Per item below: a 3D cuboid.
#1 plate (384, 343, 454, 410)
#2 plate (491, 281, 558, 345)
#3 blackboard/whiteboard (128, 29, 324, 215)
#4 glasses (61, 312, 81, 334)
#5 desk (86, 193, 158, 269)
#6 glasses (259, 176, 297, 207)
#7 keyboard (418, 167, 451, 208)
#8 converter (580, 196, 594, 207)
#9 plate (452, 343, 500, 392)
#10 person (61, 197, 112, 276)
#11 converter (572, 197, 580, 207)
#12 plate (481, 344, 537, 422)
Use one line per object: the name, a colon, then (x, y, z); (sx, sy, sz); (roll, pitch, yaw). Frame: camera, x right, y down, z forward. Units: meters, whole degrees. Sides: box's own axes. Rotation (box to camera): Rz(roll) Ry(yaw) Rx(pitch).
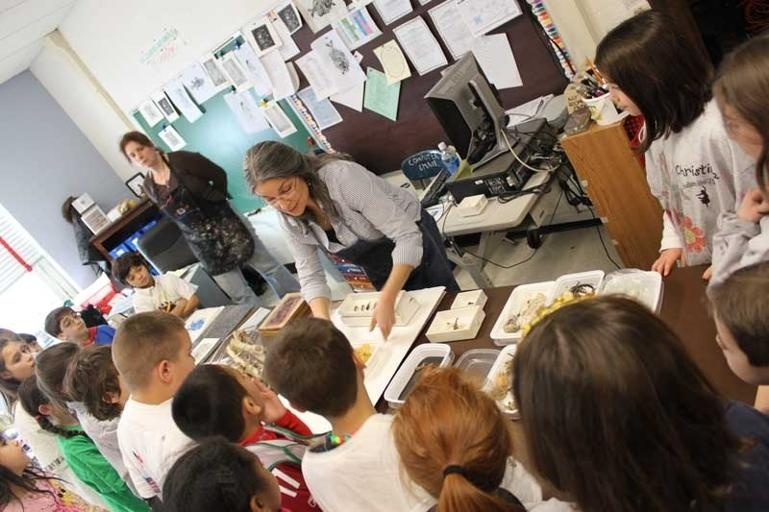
plate: (0.145, 0.468, 2.057); (0.202, 0.057, 0.343); (-1, 40, 41)
plate: (0.570, 0.241, 2.029); (0.294, 0.041, 0.205); (-53, 20, -27)
blackboard/whiteboard: (-1.311, -1.212, 4.149); (1.967, 1.400, 0.027); (-23, 26, 33)
glasses: (-2.205, 0.475, 3.520); (0.131, 0.070, 0.103); (-20, -3, 34)
desk: (-2.527, -0.224, 4.801); (0.597, 0.551, 0.379); (-49, 10, -11)
glasses: (-0.477, -0.281, 2.233); (0.110, 0.067, 0.140); (-19, 21, 26)
keyboard: (0.360, -0.477, 3.585); (0.303, 0.081, 0.283); (-51, 13, 27)
converter: (1.345, -0.365, 3.346); (0.098, 0.094, 0.027); (-13, 8, -38)
plate: (0.349, 0.416, 1.929); (0.147, 0.042, 0.179); (4, 44, 48)
person: (-3.063, -0.203, 5.099); (0.236, 0.871, 0.327); (-26, -21, -45)
converter: (1.311, -0.363, 3.406); (0.056, 0.052, 0.015); (23, 19, 36)
plate: (0.437, 0.479, 1.761); (0.206, 0.056, 0.328); (-29, 19, 37)
